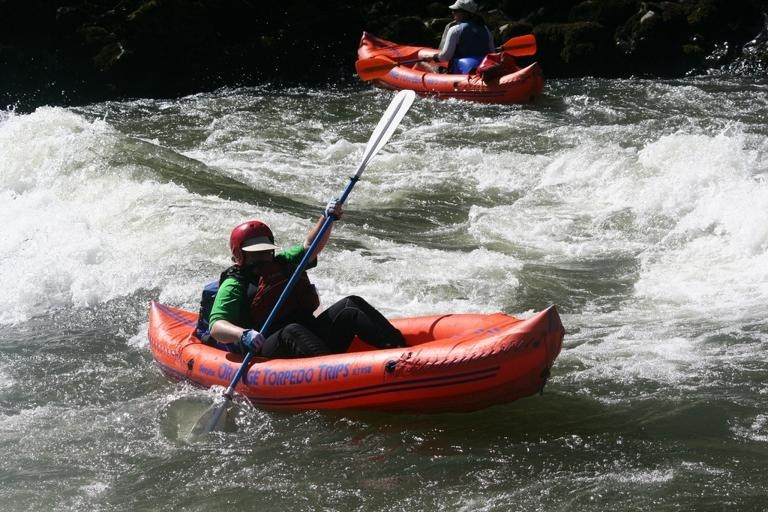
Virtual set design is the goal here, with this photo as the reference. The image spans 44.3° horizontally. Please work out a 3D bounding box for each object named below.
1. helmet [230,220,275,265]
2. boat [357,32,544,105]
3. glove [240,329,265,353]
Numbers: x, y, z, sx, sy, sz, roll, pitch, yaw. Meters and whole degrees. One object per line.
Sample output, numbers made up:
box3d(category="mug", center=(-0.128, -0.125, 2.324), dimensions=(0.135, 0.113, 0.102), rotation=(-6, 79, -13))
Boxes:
box3d(category="helmet", center=(-1.404, -0.164, 9.939), dimensions=(0.404, 0.338, 0.513), rotation=(-10, 3, -26))
box3d(category="boat", center=(1.092, -3.443, 17.617), dimensions=(3.771, 1.043, 1.658), rotation=(16, 29, 34))
box3d(category="glove", center=(-1.327, 0.859, 9.545), dimensions=(0.188, 0.082, 0.249), rotation=(-3, 22, -45))
